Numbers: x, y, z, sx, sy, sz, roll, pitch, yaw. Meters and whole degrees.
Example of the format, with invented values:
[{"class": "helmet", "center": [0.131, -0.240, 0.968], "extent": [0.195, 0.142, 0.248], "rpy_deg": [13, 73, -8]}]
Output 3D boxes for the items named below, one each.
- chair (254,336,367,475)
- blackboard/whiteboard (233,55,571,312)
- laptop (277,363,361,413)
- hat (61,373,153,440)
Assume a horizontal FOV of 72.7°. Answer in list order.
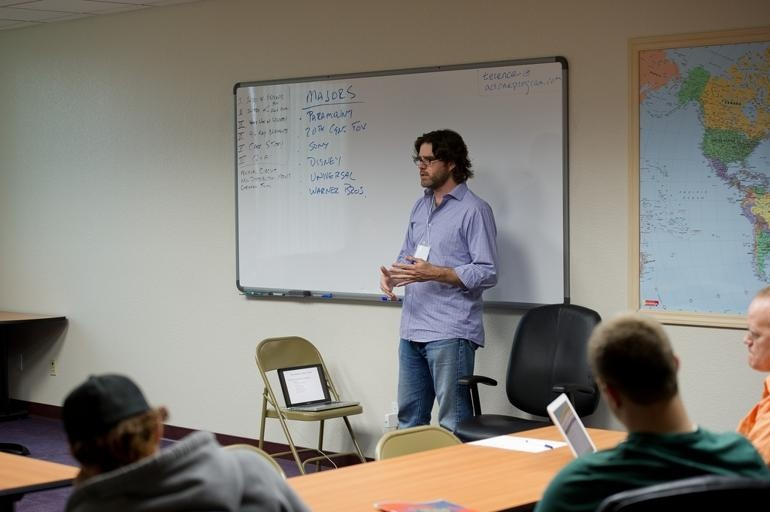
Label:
[{"class": "chair", "center": [-0.558, 1.148, 3.954], "extent": [0.696, 1.070, 0.793], "rpy_deg": [4, -12, -37]}, {"class": "blackboard/whiteboard", "center": [0.193, -0.552, 3.870], "extent": [2.117, 1.293, 0.071], "rpy_deg": [1, 3, 31]}, {"class": "laptop", "center": [-0.513, 0.991, 3.928], "extent": [0.552, 0.282, 0.550], "rpy_deg": [1, -6, -15]}, {"class": "hat", "center": [-0.654, 0.346, 1.255], "extent": [0.217, 0.114, 0.202], "rpy_deg": [0, -19, -26]}]
